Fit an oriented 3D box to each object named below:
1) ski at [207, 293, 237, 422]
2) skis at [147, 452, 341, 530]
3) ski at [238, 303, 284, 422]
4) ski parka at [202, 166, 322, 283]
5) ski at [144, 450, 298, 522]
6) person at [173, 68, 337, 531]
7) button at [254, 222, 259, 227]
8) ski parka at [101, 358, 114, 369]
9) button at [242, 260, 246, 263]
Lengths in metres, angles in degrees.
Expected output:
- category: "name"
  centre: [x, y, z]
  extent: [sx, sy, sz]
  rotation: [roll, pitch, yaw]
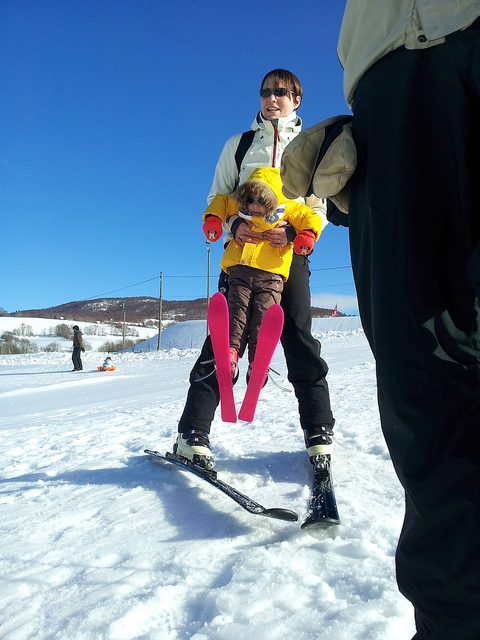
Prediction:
- category: "ski"
  centre: [-0.087, 0.127, 2.103]
  extent: [0.112, 0.063, 0.709]
  rotation: [-1, 44, -7]
- category: "skis"
  centre: [0.011, 0.675, 1.845]
  extent: [0.107, 0.117, 1.039]
  rotation: [0, -2, -28]
- category: "ski"
  centre: [0.092, 0.208, 2.134]
  extent: [0.107, 0.585, 0.056]
  rotation: [8, 15, -18]
- category: "ski parka"
  centre: [0.089, -0.422, 2.524]
  extent: [0.562, 0.746, 0.256]
  rotation: [17, 29, 5]
- category: "ski"
  centre: [-0.181, 0.584, 2.103]
  extent: [0.149, 0.114, 1.337]
  rotation: [18, -10, -26]
- category: "person"
  centre: [0.141, -0.271, 2.280]
  extent: [0.650, 2.084, 0.616]
  rotation: [3, -10, 2]
- category: "button"
  centre: [0.085, -0.483, 2.385]
  extent: [0.022, 0.023, 0.012]
  rotation: [0, 4, 0]
- category: "ski parka"
  centre: [-3.497, 1.162, 12.411]
  extent: [0.267, 0.233, 0.550]
  rotation: [-1, 5, -23]
- category: "button"
  centre: [0.021, -0.293, 2.358]
  extent: [0.021, 0.017, 0.014]
  rotation: [1, -3, 28]
